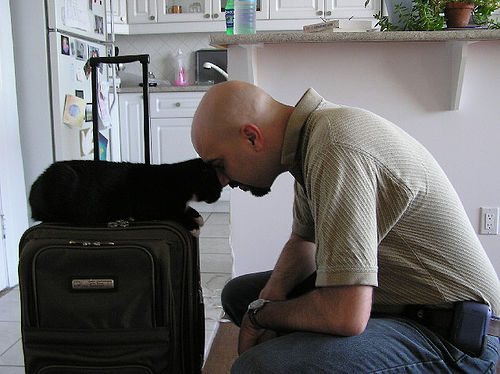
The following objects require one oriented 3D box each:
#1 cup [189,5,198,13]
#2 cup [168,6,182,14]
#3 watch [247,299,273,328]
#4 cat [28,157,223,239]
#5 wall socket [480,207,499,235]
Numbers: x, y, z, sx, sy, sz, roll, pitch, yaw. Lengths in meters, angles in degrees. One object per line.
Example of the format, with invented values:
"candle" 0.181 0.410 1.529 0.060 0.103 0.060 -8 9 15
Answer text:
"cup" -0.572 -1.791 5.074 0.087 0.070 0.031 0 11 4
"cup" -0.748 -1.787 5.086 0.088 0.063 0.067 -1 11 -5
"watch" 0.037 0.345 1.428 0.052 0.084 0.082 1 3 22
"cat" -0.383 0.022 1.668 0.656 0.286 0.229 3 5 -11
"wall socket" 1.075 0.152 2.274 0.076 0.124 0.011 0 11 4
